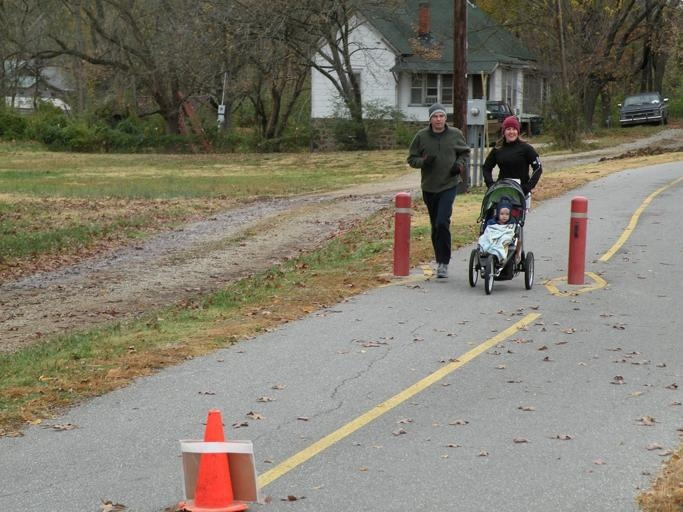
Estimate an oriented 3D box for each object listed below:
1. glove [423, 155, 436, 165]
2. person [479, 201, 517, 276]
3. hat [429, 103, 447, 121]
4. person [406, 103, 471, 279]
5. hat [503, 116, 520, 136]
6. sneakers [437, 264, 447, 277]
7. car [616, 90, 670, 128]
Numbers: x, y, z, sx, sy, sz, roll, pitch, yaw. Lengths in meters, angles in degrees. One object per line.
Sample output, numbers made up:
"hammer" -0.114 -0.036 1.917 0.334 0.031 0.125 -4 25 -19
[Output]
"glove" 1.362 -1.475 16.183 0.155 0.148 0.126 -3 1 21
"person" 2.341 -0.298 15.663 0.501 0.999 0.527 3 15 18
"hat" 1.500 -2.243 16.264 0.234 0.236 0.296 -1 3 -1
"person" 1.545 -0.981 16.439 0.922 2.758 0.803 -8 15 -23
"hat" 2.691 -2.058 16.378 0.265 0.257 0.283 1 4 -3
"sneakers" 1.606 0.241 16.648 0.227 0.232 0.572 0 0 8
"car" 16.019 -7.744 55.684 2.382 1.783 2.133 2 14 11
